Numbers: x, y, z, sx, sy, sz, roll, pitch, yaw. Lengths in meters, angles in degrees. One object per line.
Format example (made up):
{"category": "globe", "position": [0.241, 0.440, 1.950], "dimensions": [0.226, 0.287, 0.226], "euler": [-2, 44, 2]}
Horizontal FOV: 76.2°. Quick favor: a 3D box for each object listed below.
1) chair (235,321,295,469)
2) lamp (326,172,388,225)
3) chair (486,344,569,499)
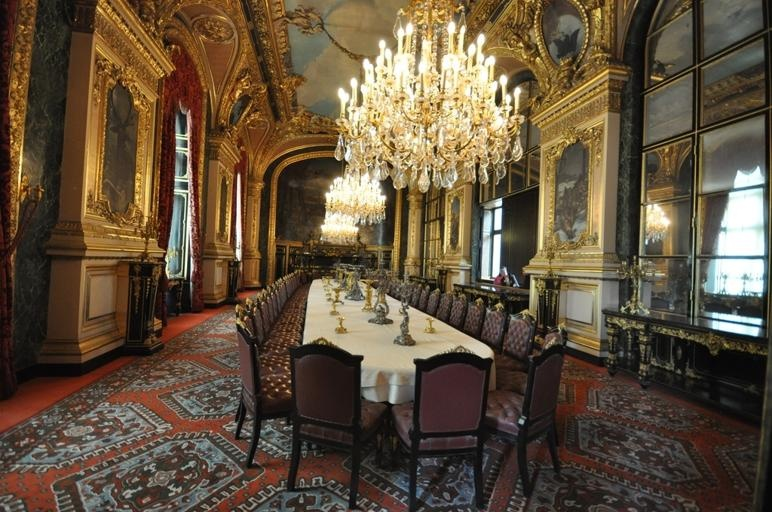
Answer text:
{"category": "chair", "position": [-1.391, 1.487, 5.521], "dimensions": [0.571, 1.565, 0.656], "euler": [2, 0, -31]}
{"category": "lamp", "position": [-0.542, -1.192, 11.310], "dimensions": [1.296, 1.874, 1.347], "euler": [2, 13, 1]}
{"category": "chair", "position": [1.498, 1.698, 5.352], "dimensions": [0.812, 1.572, 0.578], "euler": [2, 0, 12]}
